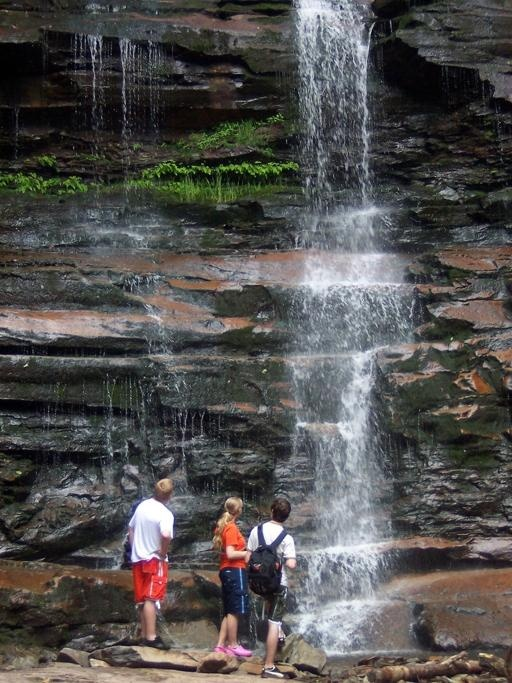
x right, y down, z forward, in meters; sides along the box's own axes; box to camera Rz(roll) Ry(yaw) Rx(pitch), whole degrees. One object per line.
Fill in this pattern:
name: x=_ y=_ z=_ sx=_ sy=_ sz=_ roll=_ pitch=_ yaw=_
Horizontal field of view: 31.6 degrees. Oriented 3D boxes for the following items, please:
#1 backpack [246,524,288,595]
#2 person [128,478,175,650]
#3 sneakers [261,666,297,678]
backpack: x=0.103 y=2.326 z=9.532 sx=0.284 sy=0.745 sz=0.318 roll=1 pitch=3 yaw=35
person: x=-1.126 y=2.353 z=9.606 sx=0.500 sy=1.782 sz=0.325 roll=0 pitch=2 yaw=5
sneakers: x=0.191 y=3.486 z=9.499 sx=0.447 sy=0.152 sz=0.144 roll=2 pitch=-3 yaw=-6
